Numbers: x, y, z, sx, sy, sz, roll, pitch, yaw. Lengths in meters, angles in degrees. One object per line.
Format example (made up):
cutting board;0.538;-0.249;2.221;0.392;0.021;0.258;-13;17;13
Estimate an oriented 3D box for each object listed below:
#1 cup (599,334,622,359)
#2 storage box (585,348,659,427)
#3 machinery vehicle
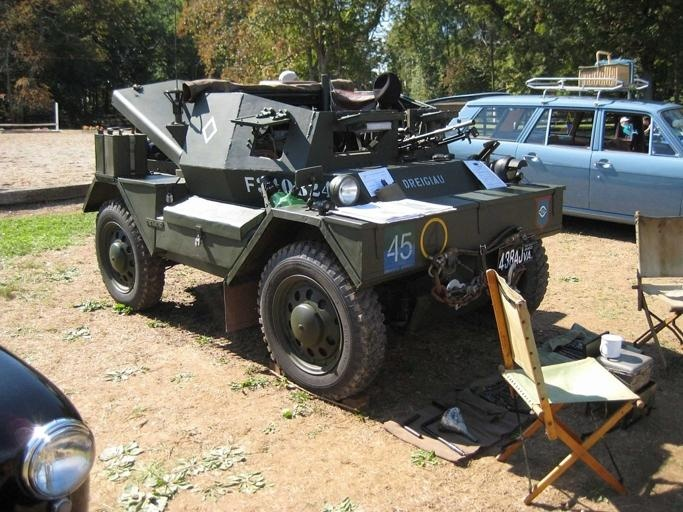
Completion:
cup;1.970;0.683;4.662;0.181;0.136;0.112;-23;20;-35
storage box;2.107;0.906;4.742;0.532;0.599;0.453;1;3;24
machinery vehicle;-0.405;-0.576;6.210;4.107;2.555;2.690;16;22;40
